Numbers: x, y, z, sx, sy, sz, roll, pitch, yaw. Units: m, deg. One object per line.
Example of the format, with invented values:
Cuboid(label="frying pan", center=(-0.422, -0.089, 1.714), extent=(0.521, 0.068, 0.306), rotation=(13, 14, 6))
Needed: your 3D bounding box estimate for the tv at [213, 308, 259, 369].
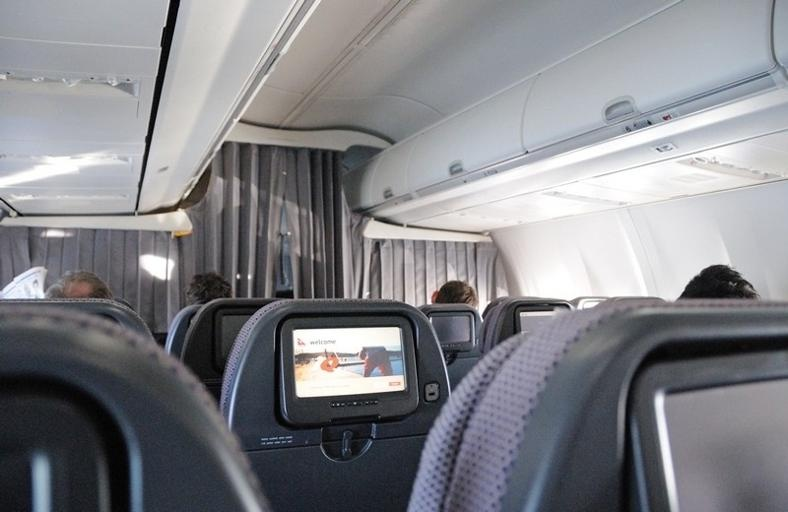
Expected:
Cuboid(label="tv", center=(-0.662, 0.339, 2.239), extent=(0.258, 0.235, 0.062), rotation=(1, 9, -37))

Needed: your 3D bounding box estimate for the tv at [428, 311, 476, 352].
Cuboid(label="tv", center=(0.282, 0.369, 2.715), extent=(0.292, 0.232, 0.039), rotation=(-1, 2, -29))
